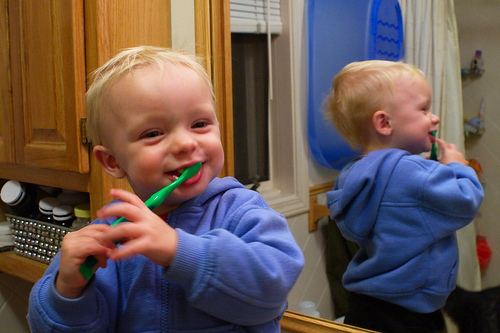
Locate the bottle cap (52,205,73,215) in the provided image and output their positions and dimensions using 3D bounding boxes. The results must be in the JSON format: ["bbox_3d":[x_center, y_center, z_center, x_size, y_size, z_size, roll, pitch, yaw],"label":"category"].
[{"bbox_3d":[-0.586,0.135,1.369,0.065,0.028,0.028,1,5,13],"label":"bottle cap"}]

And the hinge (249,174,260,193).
[{"bbox_3d":[0.014,0.040,1.125,0.026,0.052,0.035,6,-12,-26],"label":"hinge"}]

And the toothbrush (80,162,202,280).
[{"bbox_3d":[-0.198,0.106,0.833,0.350,0.049,0.053,-35,-16,-19],"label":"toothbrush"}]

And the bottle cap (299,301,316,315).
[{"bbox_3d":[0.142,0.350,1.084,0.039,0.028,0.039,0,3,3],"label":"bottle cap"}]

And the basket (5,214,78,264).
[{"bbox_3d":[-0.655,0.232,1.453,0.244,0.163,0.075,10,14,30],"label":"basket"}]

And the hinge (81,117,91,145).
[{"bbox_3d":[-0.438,-0.098,1.174,0.023,0.074,0.044,-2,5,-21],"label":"hinge"}]
